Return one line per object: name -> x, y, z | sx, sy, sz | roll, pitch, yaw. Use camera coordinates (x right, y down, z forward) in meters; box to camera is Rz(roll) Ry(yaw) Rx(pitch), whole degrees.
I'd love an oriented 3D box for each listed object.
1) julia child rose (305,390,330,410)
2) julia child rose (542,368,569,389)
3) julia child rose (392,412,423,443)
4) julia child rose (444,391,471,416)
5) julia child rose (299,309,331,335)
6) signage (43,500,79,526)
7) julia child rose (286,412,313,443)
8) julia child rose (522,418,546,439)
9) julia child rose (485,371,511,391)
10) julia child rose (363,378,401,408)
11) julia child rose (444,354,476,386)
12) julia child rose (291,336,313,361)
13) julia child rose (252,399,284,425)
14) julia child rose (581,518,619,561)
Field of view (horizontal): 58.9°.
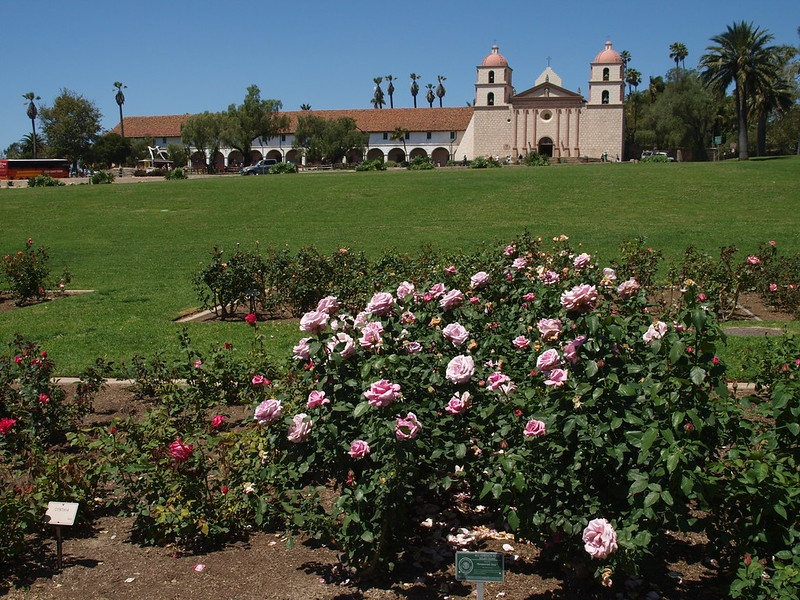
julia child rose -> -0.592, 0.724, 5.094 | 0.133, 0.074, 0.130 | -9, 20, 41
julia child rose -> 1.050, 0.513, 4.765 | 0.146, 0.146, 0.203 | 2, 15, 14
julia child rose -> 0.055, 0.846, 4.835 | 0.165, 0.169, 0.216 | 2, 14, 12
julia child rose -> 0.409, 0.723, 4.977 | 0.146, 0.075, 0.163 | -15, 42, 5
julia child rose -> -0.610, 0.174, 5.198 | 0.169, 0.139, 0.163 | -45, 32, -20
signage -> -2.449, 1.557, 5.156 | 0.228, 0.195, 0.059 | -3, -17, 18
julia child rose -> -0.727, 0.888, 5.086 | 0.177, 0.101, 0.188 | -33, 59, -4
julia child rose -> 0.893, 0.860, 4.724 | 0.106, 0.105, 0.132 | -5, 58, 12
julia child rose -> 0.713, 0.580, 5.103 | 0.138, 0.095, 0.142 | 31, 53, 31
julia child rose -> -0.118, 0.623, 4.803 | 0.229, 0.213, 0.214 | -1, 14, 0
julia child rose -> 0.431, 0.487, 4.970 | 0.169, 0.198, 0.215 | 6, 16, 28
julia child rose -> -0.711, 0.342, 5.251 | 0.089, 0.179, 0.176 | 12, 29, 7
julia child rose -> -0.933, 0.846, 5.145 | 0.190, 0.128, 0.211 | -1, 38, 25
julia child rose -> 1.253, 1.489, 4.439 | 0.201, 0.193, 0.145 | 1, 14, 9
